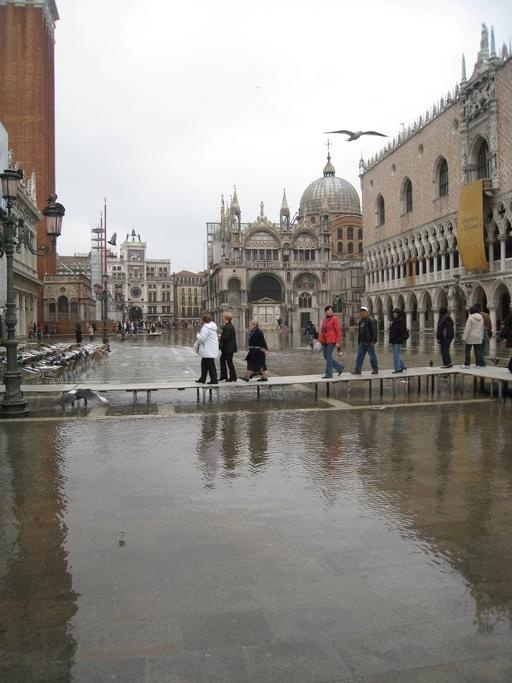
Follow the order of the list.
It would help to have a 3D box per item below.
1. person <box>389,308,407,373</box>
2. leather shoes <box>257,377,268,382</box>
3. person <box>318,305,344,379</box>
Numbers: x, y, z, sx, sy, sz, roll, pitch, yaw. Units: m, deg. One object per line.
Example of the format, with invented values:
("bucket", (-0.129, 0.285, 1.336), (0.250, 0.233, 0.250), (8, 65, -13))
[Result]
("person", (3.600, -0.014, 16.377), (0.450, 1.566, 3.670), (0, 2, 12))
("leather shoes", (0.136, 0.844, 14.143), (0.082, 0.112, 0.230), (-5, -6, -39))
("person", (1.697, 0.012, 14.877), (0.443, 1.699, 0.500), (2, 6, 21))
